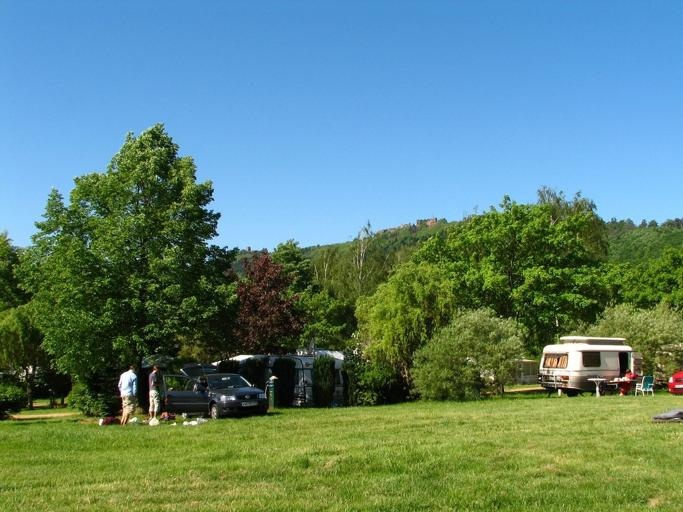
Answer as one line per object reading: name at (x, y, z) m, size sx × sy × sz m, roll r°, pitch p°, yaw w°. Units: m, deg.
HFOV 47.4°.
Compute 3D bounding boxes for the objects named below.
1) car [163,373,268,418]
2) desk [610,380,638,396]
car at (-5.391, 5.898, 32.978) m, size 4.301 × 1.843 × 1.859 m, roll -1°, pitch -1°, yaw 25°
desk at (14.414, 6.559, 39.767) m, size 0.780 × 0.906 × 1.957 m, roll -1°, pitch -1°, yaw 39°
